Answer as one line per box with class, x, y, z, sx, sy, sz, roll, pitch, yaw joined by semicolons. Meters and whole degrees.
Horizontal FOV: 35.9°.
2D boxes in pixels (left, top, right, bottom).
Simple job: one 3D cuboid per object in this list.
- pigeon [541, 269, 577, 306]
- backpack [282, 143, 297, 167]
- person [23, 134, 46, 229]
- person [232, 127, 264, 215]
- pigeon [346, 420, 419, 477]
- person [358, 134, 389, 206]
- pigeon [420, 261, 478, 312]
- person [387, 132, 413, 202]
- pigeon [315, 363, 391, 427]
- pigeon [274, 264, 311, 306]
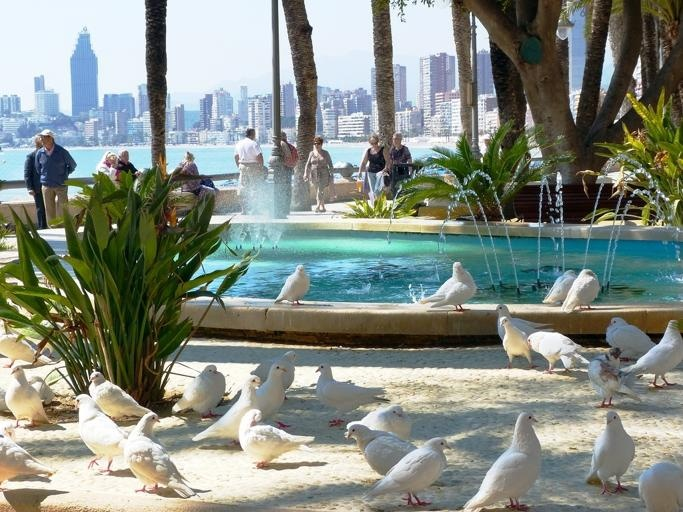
pigeon;2.379;0.359;11.420;0.442;0.351;0.240;-15;19;-18
backpack;-1.091;-2.163;22.918;0.228;0.476;0.305;-5;17;8
person;-5.646;-1.314;20.055;0.394;1.942;0.653;-4;-2;37
person;-2.032;-1.919;23.527;0.601;1.796;0.470;1;12;10
pigeon;0.353;1.555;8.425;0.595;0.485;0.302;-3;20;0
person;0.765;-1.861;23.328;0.614;1.655;0.558;8;11;40
pigeon;1.131;0.334;11.209;0.547;0.456;0.261;-1;9;27
person;1.274;-1.858;23.052;0.504;1.534;0.438;0;13;4
pigeon;0.106;1.235;9.393;0.645;0.543;0.337;0;-7;4
pigeon;-0.547;0.332;11.736;0.482;0.476;0.295;3;10;40
